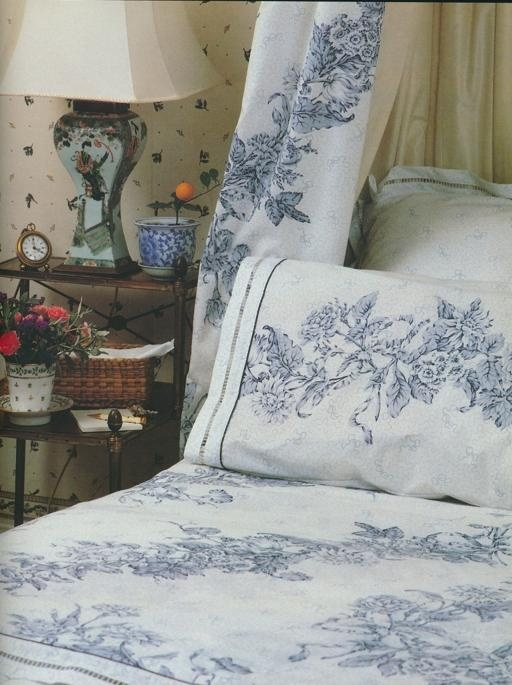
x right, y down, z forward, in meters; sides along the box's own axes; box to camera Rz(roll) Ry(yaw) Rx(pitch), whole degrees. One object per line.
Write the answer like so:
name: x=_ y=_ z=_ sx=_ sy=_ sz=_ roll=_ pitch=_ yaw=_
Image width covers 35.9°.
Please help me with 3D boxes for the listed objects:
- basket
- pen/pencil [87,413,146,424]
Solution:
basket: x=-0.373 y=0.072 z=1.624 sx=0.198 sy=0.087 sz=0.220 roll=0 pitch=0 yaw=1
pen/pencil: x=-0.285 y=0.156 z=1.607 sx=0.140 sy=0.018 sz=0.022 roll=3 pitch=-4 yaw=28
